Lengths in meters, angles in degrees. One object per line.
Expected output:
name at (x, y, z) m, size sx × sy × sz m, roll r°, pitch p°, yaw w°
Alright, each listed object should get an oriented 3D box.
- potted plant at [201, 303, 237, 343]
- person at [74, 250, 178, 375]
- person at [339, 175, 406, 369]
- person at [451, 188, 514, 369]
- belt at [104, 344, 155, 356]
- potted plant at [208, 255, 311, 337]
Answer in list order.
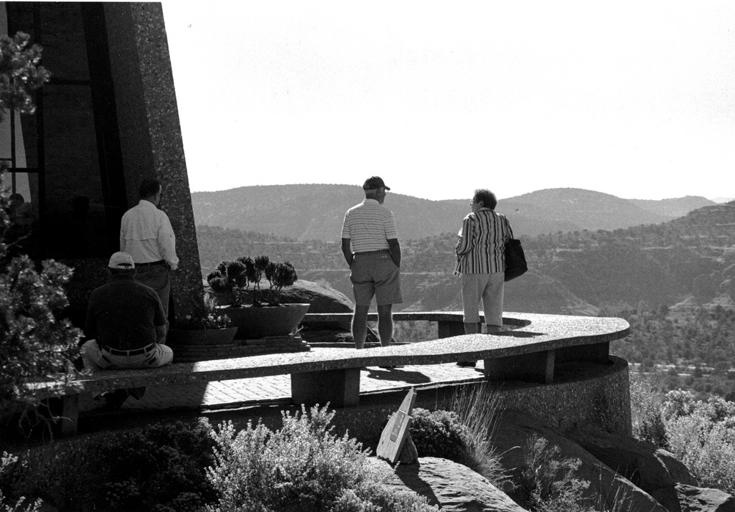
potted plant at (-2.029, 0.933, 9.258) m, size 0.420 × 0.503 × 0.670 m, roll 0°, pitch 4°, yaw -13°
person at (-2.228, 0.532, 6.578) m, size 0.934 × 1.399 × 0.936 m, roll 1°, pitch 1°, yaw -4°
person at (0.038, 0.077, 8.659) m, size 0.781 × 2.201 × 0.647 m, roll 1°, pitch 4°, yaw 0°
person at (1.532, 0.087, 8.886) m, size 0.794 × 1.929 × 0.514 m, roll 0°, pitch 4°, yaw -21°
belt at (-2.179, 0.864, 6.164) m, size 0.449 × 0.091 × 0.078 m, roll 0°, pitch 4°, yaw -21°
potted plant at (-1.633, 0.635, 10.348) m, size 1.277 × 1.274 × 1.620 m, roll -1°, pitch -9°, yaw 0°
